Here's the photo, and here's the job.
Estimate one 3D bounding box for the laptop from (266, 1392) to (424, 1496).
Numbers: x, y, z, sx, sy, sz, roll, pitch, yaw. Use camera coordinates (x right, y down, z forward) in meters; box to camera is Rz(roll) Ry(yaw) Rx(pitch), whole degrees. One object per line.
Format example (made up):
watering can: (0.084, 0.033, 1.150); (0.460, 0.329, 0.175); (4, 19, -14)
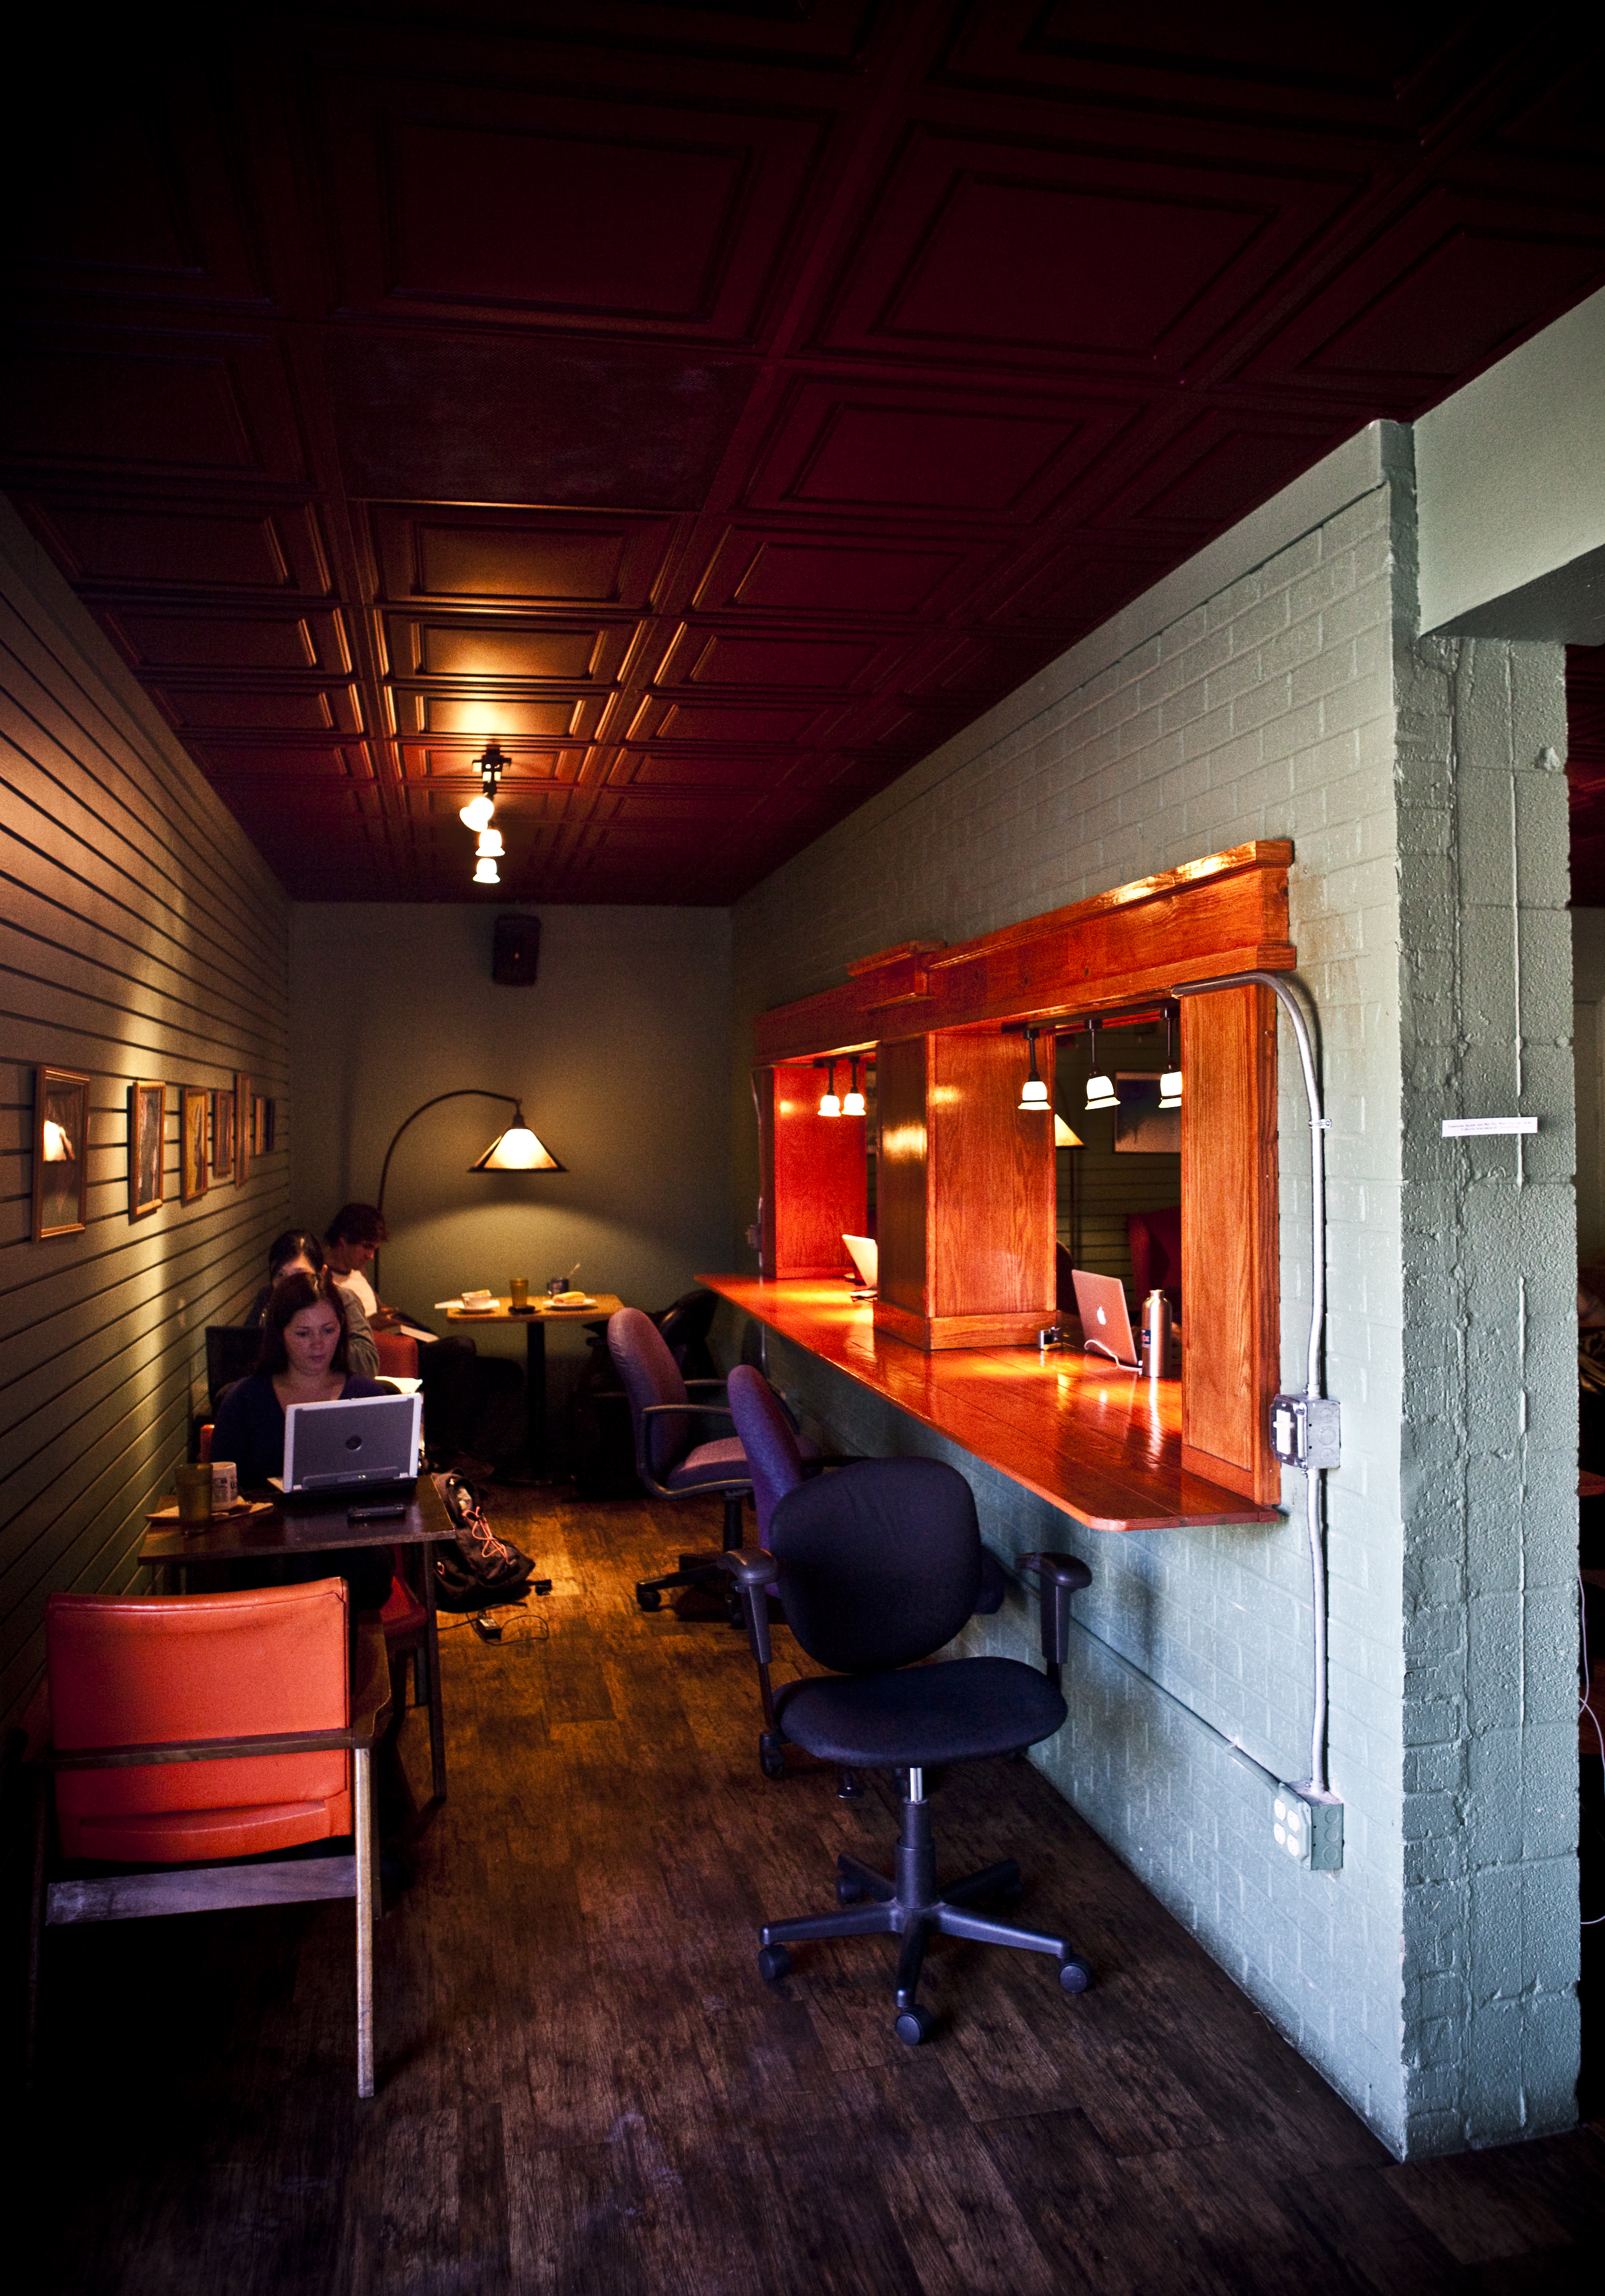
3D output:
laptop: (-1.063, 0.649, 3.620); (0.290, 0.261, 0.230); (2, 1, -30)

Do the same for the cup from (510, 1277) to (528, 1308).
cup: (-1.320, 0.666, 7.122); (0.095, 0.167, 0.096); (1, -5, 0)

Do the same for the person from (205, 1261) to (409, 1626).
person: (-1.255, 0.798, 4.006); (0.422, 0.896, 0.490); (-8, 7, -21)

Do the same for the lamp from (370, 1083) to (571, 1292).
lamp: (-1.694, 0.129, 7.580); (0.840, 0.959, 0.732); (0, 0, -16)

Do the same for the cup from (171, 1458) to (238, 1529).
cup: (-1.327, 0.769, 3.402); (0.097, 0.137, 0.152); (-2, -5, 14)

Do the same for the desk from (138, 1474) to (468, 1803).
desk: (-1.136, 0.927, 3.512); (0.832, 0.780, 0.767); (-1, -9, -10)

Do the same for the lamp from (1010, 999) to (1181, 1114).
lamp: (0.902, -0.240, 4.642); (0.352, 0.217, 0.355); (0, -12, -6)
